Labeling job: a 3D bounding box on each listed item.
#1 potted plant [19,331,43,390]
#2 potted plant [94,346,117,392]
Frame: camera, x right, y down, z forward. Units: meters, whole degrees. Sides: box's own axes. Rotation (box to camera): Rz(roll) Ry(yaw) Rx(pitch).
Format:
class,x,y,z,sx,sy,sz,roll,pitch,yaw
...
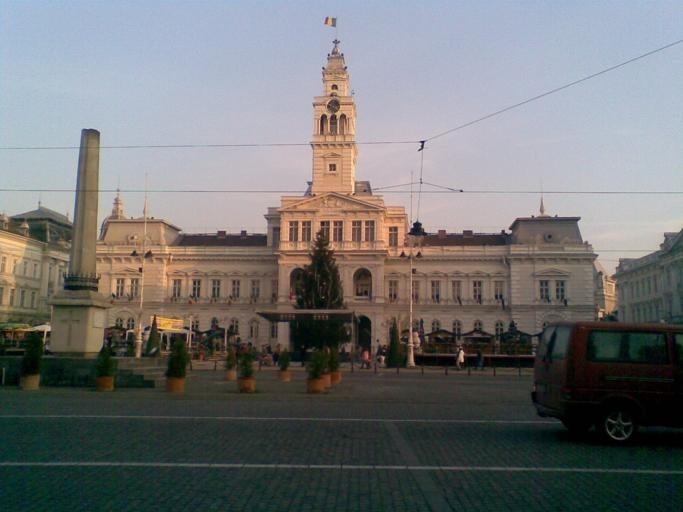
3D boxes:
class,x,y,z,sx,sy,sz,roll,pitch,yaw
potted plant,-11.717,3.960,28.128,0.746,2.204,1.218,4,-11,-23
potted plant,-9.072,4.298,28.515,0.707,1.723,1.370,3,-10,-18
